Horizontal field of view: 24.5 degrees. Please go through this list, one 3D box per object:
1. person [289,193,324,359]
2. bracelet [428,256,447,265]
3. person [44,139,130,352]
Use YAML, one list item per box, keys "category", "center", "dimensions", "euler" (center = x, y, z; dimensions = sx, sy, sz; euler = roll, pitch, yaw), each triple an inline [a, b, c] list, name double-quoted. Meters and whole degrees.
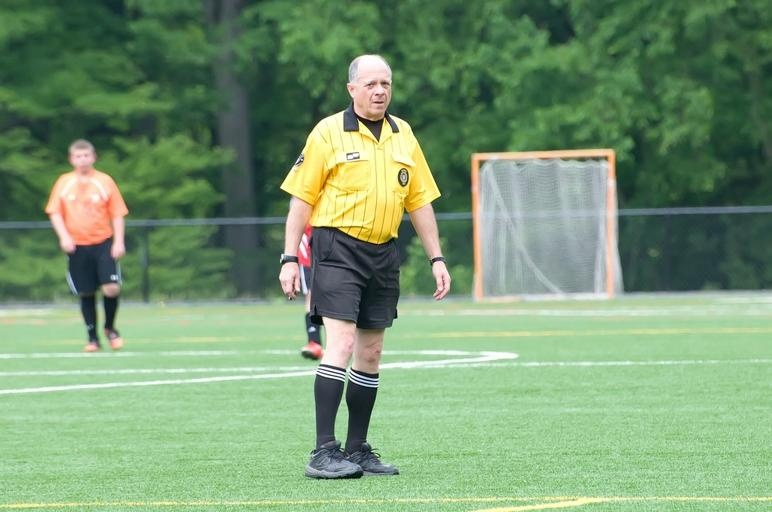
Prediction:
- category: "person"
  center: [-1.139, 0.522, 25.053]
  dimensions: [0.450, 1.787, 0.361]
  euler: [-10, -12, 43]
- category: "bracelet"
  center: [0.640, 0.014, 21.951]
  dimensions: [0.161, 0.101, 0.163]
  euler: [0, -14, -16]
- category: "person"
  center: [-4.272, -0.089, 25.677]
  dimensions: [1.053, 3.076, 0.676]
  euler: [-1, 13, 1]
